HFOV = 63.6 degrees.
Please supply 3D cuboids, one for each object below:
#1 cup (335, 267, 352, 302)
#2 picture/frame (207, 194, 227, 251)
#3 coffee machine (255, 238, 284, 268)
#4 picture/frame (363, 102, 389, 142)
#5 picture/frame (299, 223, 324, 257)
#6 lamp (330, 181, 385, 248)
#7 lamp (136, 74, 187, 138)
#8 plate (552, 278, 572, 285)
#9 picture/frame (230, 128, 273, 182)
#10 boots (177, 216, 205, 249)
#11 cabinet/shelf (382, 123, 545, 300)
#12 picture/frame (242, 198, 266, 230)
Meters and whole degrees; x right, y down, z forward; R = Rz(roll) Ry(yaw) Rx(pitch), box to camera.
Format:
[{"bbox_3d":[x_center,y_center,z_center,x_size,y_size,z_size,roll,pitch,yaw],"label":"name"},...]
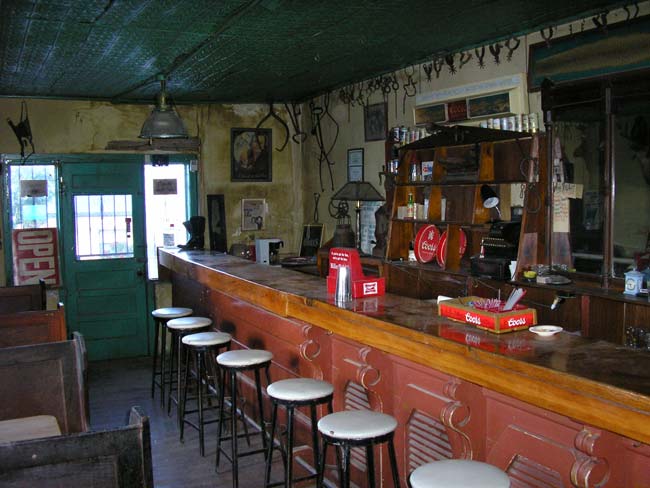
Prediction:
[{"bbox_3d":[0.125,0.279,3.619,0.120,0.228,0.155,-3,9,1],"label":"cup"},{"bbox_3d":[-1.676,-0.313,8.061,0.241,1.032,0.024,2,-29,-22],"label":"picture/frame"},{"bbox_3d":[-0.791,0.083,7.665,0.463,0.497,0.262,1,0,-22],"label":"coffee machine"},{"bbox_3d":[0.669,-1.587,6.787,0.058,0.581,0.572,-5,7,-29],"label":"picture/frame"},{"bbox_3d":[-0.193,-0.063,8.004,0.445,0.681,0.070,4,-5,33],"label":"picture/frame"},{"bbox_3d":[0.426,-0.330,6.749,0.612,0.992,0.658,-1,11,-5],"label":"lamp"},{"bbox_3d":[-1.662,-1.388,5.391,0.510,0.600,0.514,-1,6,-5],"label":"lamp"},{"bbox_3d":[2.006,0.303,4.411,0.176,0.060,0.065,-7,10,-21],"label":"plate"},{"bbox_3d":[-1.183,-1.419,8.181,0.813,0.974,0.072,1,0,-25],"label":"picture/frame"},{"bbox_3d":[-1.826,-0.149,6.912,0.461,0.527,0.289,2,2,-7],"label":"boots"},{"bbox_3d":[1.518,-0.325,5.661,1.661,1.872,0.551,6,5,44],"label":"cabinet/shelf"},{"bbox_3d":[-1.149,-0.481,8.272,0.454,0.587,0.039,-2,6,-15],"label":"picture/frame"}]
